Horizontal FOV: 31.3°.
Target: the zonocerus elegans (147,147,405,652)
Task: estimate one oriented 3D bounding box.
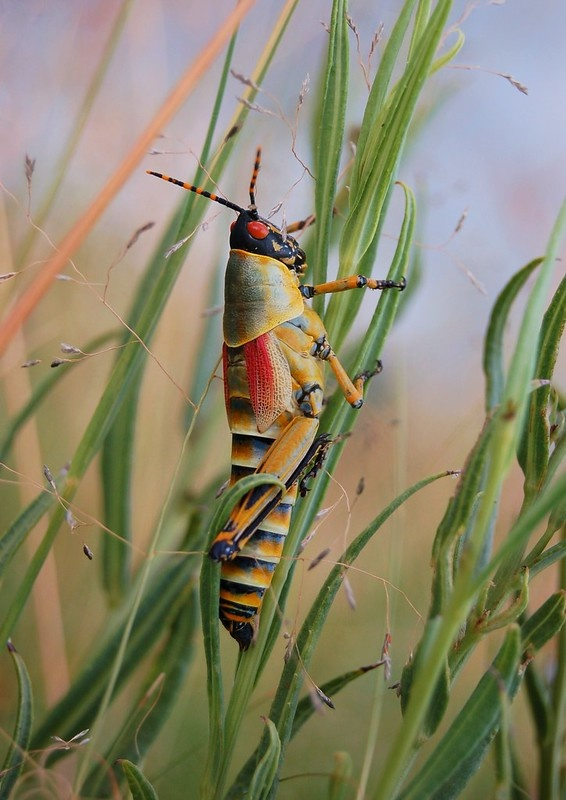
[{"bbox_3d":[-0.005,-0.006,0.916,0.164,0.453,0.183,5,-12,-24],"label":"zonocerus elegans"}]
